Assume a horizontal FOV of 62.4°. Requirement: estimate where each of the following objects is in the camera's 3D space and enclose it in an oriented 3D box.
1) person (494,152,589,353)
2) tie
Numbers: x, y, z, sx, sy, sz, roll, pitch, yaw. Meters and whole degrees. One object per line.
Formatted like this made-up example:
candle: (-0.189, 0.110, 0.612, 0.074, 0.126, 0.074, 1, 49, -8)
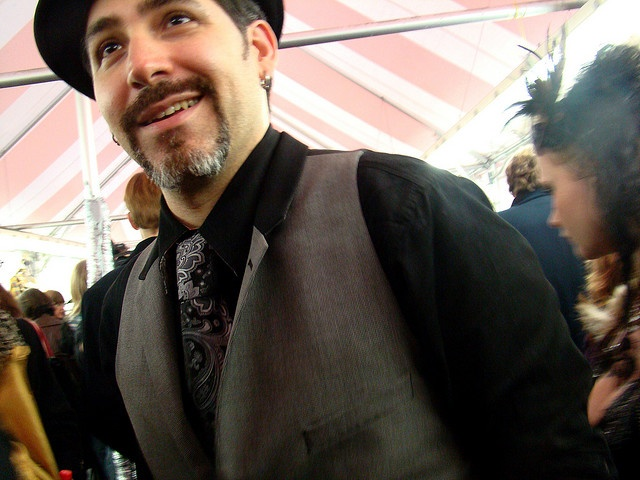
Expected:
person: (1.246, 0.090, 2.946, 0.427, 0.352, 1.187, -9, -62, 18)
tie: (-0.343, 0.275, 1.560, 0.142, 0.591, 0.072, -7, 6, -15)
